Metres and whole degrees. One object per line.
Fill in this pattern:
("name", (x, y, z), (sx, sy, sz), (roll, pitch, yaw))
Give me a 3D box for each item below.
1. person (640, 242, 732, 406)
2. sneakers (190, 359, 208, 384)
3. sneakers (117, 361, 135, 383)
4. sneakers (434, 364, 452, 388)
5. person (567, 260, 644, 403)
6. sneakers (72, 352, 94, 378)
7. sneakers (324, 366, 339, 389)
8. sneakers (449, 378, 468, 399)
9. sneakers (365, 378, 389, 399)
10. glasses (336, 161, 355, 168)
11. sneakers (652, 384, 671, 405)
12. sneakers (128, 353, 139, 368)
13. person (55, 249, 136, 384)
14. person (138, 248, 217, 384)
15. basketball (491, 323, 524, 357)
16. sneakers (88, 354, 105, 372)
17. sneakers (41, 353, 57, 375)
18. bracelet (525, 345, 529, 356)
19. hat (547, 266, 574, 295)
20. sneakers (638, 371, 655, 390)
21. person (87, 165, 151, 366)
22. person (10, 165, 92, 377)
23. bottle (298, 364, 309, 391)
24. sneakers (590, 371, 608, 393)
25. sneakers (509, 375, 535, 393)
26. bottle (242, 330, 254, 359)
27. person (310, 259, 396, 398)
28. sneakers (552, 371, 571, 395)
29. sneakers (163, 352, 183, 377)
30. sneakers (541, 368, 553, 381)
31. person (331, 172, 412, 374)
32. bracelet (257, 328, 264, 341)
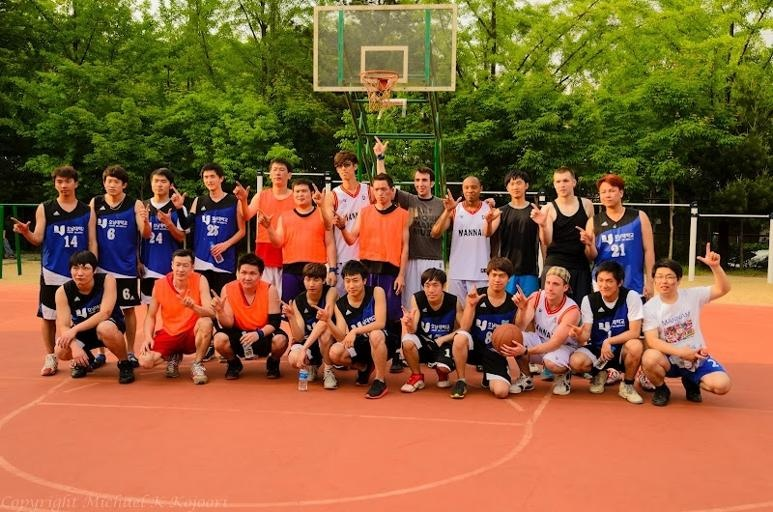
("person", (3.505, 0.825, 7.594), (0.959, 1.791, 0.622), (4, 15, 14))
("sneakers", (-2.370, 1.460, 8.251), (0.187, 0.260, 0.264), (-4, 15, -16))
("sneakers", (-3.285, 1.430, 8.201), (0.182, 0.252, 0.264), (-6, 16, -24))
("sneakers", (0.709, 1.489, 8.163), (0.228, 0.272, 0.653), (-1, -9, 2))
("person", (2.722, 0.890, 7.876), (0.852, 1.606, 0.619), (5, 15, 19))
("sneakers", (-3.895, 1.407, 8.474), (0.150, 0.188, 0.443), (8, 9, -2))
("sneakers", (-0.702, 1.520, 8.213), (0.205, 0.218, 0.557), (0, -6, -5))
("sneakers", (0.879, 1.596, 7.906), (0.148, 0.156, 0.373), (-3, -13, 12))
("sneakers", (-0.124, 1.575, 7.845), (0.258, 0.174, 0.259), (0, 14, -2))
("glasses", (-0.557, -1.243, 8.896), (0.280, 0.093, 0.152), (-1, 14, -7))
("sneakers", (3.231, 1.602, 7.646), (0.152, 0.209, 0.236), (9, 17, 32))
("sneakers", (-3.443, 1.402, 8.855), (0.115, 0.132, 0.333), (2, -9, -19))
("person", (-3.742, 0.751, 8.293), (1.128, 1.558, 1.050), (6, 13, 40))
("person", (-2.623, 0.742, 8.375), (0.996, 1.629, 0.711), (4, 15, 14))
("basketball", (1.451, 0.994, 7.828), (0.338, 0.344, 0.335), (2, 4, 5))
("sneakers", (-3.898, 1.425, 8.740), (0.165, 0.185, 0.484), (0, -8, -3))
("sneakers", (-4.394, 1.399, 8.464), (0.181, 0.194, 0.351), (-6, 16, -24))
("bracelet", (1.689, 1.121, 7.848), (0.046, 0.088, 0.066), (0, -12, -6))
("hat", (2.169, 0.265, 8.037), (0.289, 0.326, 0.380), (6, -15, 30))
("sneakers", (3.176, 1.499, 7.918), (0.108, 0.300, 0.133), (-32, 5, 13))
("person", (-3.661, 0.142, 8.753), (0.889, 2.673, 0.881), (-1, -3, 8))
("person", (-4.247, 0.209, 8.424), (0.977, 2.729, 1.237), (7, 7, 34))
("bottle", (-1.036, 1.472, 8.133), (0.137, 0.304, 0.356), (-1, 14, -5))
("sneakers", (2.623, 1.546, 8.027), (0.132, 0.151, 0.353), (-18, 32, 51))
("sneakers", (1.677, 1.574, 8.048), (0.348, 0.146, 0.136), (0, -2, -27))
("bottle", (-1.764, 1.145, 8.295), (0.150, 0.401, 0.234), (-3, 15, -13))
("person", (-0.384, 0.879, 7.989), (0.796, 1.536, 0.899), (0, 14, -1))
("sneakers", (2.145, 1.548, 7.943), (0.128, 0.157, 0.359), (-3, -1, 18))
("sneakers", (-2.768, 1.408, 8.452), (0.132, 0.172, 0.379), (3, 5, -3))
("sneakers", (2.115, 1.543, 8.550), (0.103, 0.116, 0.276), (-2, -13, 3))
("person", (-0.190, 0.205, 8.656), (0.983, 2.447, 0.844), (0, -1, 2))
("bracelet", (-1.592, 0.975, 8.254), (0.053, 0.109, 0.081), (-27, 0, -7))
